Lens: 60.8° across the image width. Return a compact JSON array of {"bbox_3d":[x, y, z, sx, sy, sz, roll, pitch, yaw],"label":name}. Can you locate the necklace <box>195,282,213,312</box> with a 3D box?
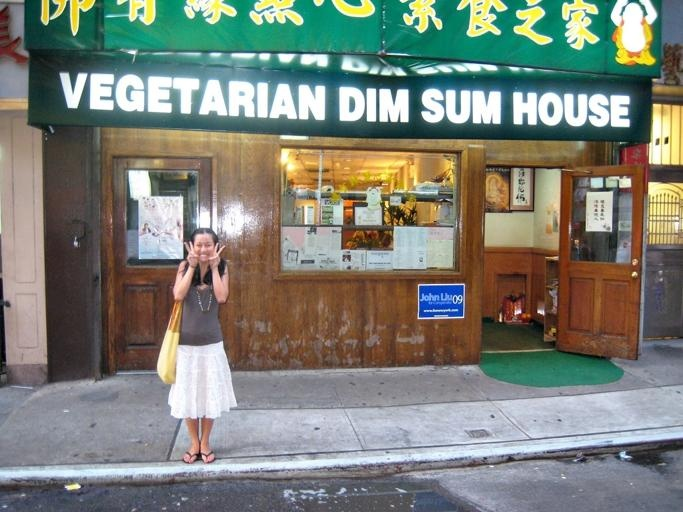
[{"bbox_3d":[-1.320,0.404,5.581,0.141,0.266,0.077,2,-7,-12],"label":"necklace"}]

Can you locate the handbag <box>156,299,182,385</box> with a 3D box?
[{"bbox_3d":[-1.657,0.838,5.619,0.241,0.817,0.223,-2,4,-17],"label":"handbag"}]

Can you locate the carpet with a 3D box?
[{"bbox_3d":[2.882,1.559,8.136,1.900,0.111,1.500,-1,4,0],"label":"carpet"}]

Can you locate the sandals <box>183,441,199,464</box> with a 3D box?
[{"bbox_3d":[-1.477,1.954,5.717,0.087,0.100,0.228,2,-7,0],"label":"sandals"}]

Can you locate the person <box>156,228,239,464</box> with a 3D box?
[{"bbox_3d":[-1.390,0.877,5.678,0.649,2.300,0.345,-2,4,-17],"label":"person"}]
